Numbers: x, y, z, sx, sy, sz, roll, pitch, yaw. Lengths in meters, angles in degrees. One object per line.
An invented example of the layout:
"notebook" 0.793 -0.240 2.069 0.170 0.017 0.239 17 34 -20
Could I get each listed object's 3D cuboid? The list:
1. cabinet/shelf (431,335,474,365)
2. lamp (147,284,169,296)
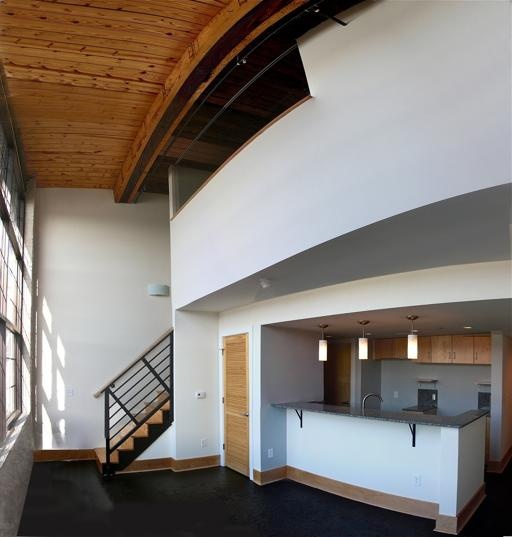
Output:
"cabinet/shelf" 3.061 1.253 7.646 0.148 0.427 0.721 4 -10 -28
"lamp" -1.522 0.323 7.399 0.208 0.100 0.209 -5 -7 43
